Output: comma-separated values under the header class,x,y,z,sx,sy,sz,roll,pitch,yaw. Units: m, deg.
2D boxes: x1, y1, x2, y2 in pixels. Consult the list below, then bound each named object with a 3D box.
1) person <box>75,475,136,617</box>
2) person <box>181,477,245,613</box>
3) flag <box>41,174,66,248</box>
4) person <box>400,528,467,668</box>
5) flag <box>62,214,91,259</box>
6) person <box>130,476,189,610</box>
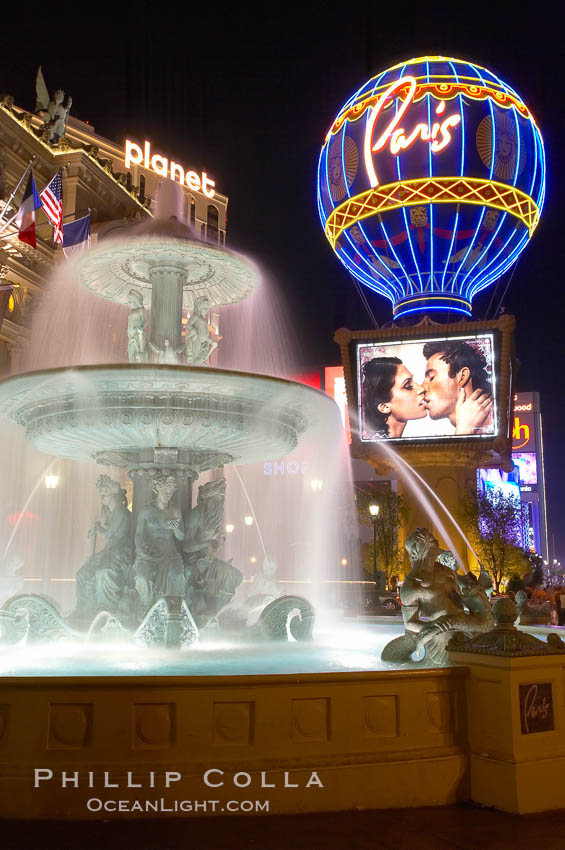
class,x,y,z,sx,sy,sz,roll,pitch,yaw
person,-2.406,1.682,10.573,0.779,1.424,1.280,5,-3,-14
person,-1.048,1.734,10.711,0.698,1.977,1.109,3,-3,24
flag,-7.440,-7.372,24.777,0.729,1.827,2.217,5,-3,-17
person,1.450,1.635,7.317,0.615,1.185,1.388,3,-3,13
flag,-7.288,-6.728,26.964,1.443,1.108,0.620,2,-3,43
person,-1.608,1.573,10.072,0.755,1.208,0.742,4,-3,3
